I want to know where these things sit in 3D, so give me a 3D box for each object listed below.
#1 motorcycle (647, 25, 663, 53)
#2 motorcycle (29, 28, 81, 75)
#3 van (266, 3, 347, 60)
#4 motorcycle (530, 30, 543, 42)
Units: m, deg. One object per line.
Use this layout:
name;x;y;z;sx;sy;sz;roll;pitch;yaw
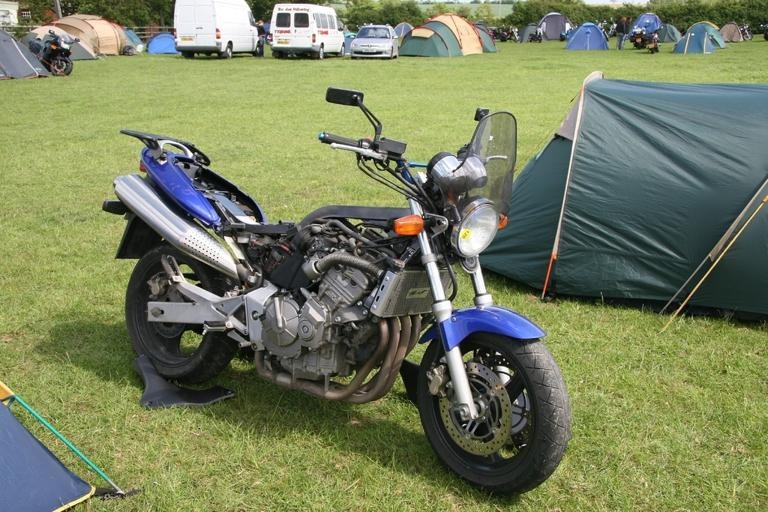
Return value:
motorcycle;13.572;-10.737;32.763;0.526;0.846;1.071;8;26;19
motorcycle;-10.717;-6.528;21.029;1.397;1.266;0.897;15;29;30
van;-3.503;-10.429;30.121;2.031;1.997;3.862;6;21;19
motorcycle;11.786;-16.963;50.119;0.759;0.913;1.372;-16;27;-32
